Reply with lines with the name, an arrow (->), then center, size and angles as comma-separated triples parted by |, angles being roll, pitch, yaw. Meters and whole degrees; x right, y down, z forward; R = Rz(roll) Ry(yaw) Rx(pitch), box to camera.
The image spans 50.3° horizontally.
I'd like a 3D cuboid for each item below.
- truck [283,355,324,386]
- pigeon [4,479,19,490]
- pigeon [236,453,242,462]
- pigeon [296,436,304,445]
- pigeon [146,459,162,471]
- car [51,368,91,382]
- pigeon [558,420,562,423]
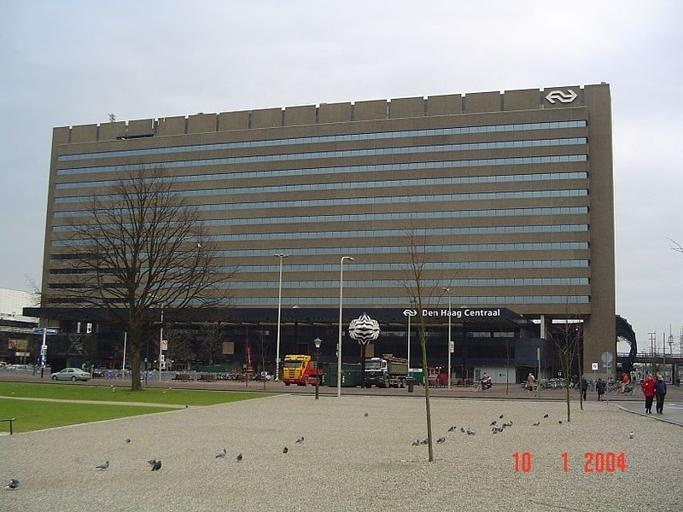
truck -> -3.781, 12.214, 76.856 | 2.929, 3.515, 7.836 | -6, -17, 17
pigeon -> -7.976, 5.571, 17.696 | 0.368, 0.197, 0.361 | -8, -6, 28
pigeon -> -2.867, 5.724, 20.580 | 0.230, 0.237, 0.205 | 3, -11, -16
pigeon -> -1.406, 6.135, 23.978 | 0.247, 0.154, 0.317 | -2, -6, 23
pigeon -> -4.959, 5.606, 19.409 | 0.350, 0.197, 0.444 | -17, -20, 31
car -> -26.548, 11.651, 71.496 | 3.321, 1.239, 2.542 | 4, -11, -23
pigeon -> 9.614, 7.303, 31.918 | 0.114, 0.164, 0.384 | -7, -17, 6
